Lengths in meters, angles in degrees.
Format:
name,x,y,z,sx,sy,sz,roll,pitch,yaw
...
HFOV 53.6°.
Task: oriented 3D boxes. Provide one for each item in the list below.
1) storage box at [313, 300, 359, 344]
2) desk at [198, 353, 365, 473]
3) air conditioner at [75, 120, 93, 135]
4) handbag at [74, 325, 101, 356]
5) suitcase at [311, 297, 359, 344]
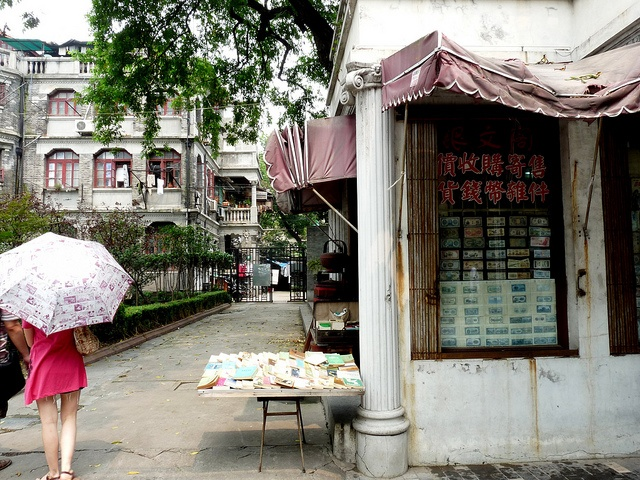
name,x,y,z,sx,sy,sz,roll,pitch,yaw
storage box,0.207,1.203,9.200,0.569,0.402,0.584,0,-10,0
desk,-0.490,2.128,7.906,1.845,1.219,1.285,2,1,-4
air conditioner,-8.597,-4.165,23.213,0.906,0.584,0.474,2,5,20
handbag,-2.791,1.209,7.552,0.268,0.368,0.146,-7,-9,-16
suitcase,0.209,1.189,9.226,0.688,0.545,0.644,1,5,1
